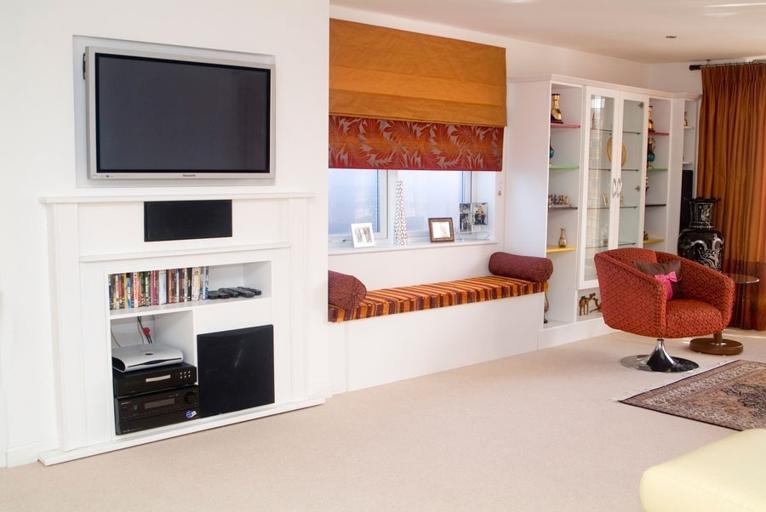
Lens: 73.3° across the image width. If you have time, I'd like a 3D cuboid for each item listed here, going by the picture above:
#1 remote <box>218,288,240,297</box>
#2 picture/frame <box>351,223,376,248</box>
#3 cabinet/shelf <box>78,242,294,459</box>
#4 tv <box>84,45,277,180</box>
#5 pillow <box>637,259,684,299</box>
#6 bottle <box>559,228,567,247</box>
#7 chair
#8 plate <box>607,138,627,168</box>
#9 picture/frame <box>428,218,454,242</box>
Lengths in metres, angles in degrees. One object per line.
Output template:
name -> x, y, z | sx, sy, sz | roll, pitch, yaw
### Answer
remote -> -1.132, 0.261, 3.774 | 0.094, 0.022, 0.090 | -5, 13, -31
picture/frame -> -0.197, -0.202, 4.888 | 0.260, 0.235, 0.020 | -6, -4, -36
cabinet/shelf -> -1.412, 0.558, 3.581 | 1.455, 1.053, 0.488 | 1, -5, -44
tv -> -1.376, -0.958, 3.382 | 1.142, 0.606, 0.112 | -3, 7, -33
pillow -> 2.626, 0.235, 5.020 | 0.450, 0.368, 0.137 | -5, -18, -23
bottle -> 1.944, -0.209, 5.577 | 0.102, 0.195, 0.118 | 6, 12, 26
chair -> 2.542, 0.505, 5.101 | 1.225, 1.217, 1.300 | 0, -3, -34
plate -> 2.557, -1.160, 5.756 | 0.313, 0.278, 0.044 | -2, 0, -38
picture/frame -> 0.587, -0.276, 5.311 | 0.269, 0.193, 0.020 | -6, -4, -35
